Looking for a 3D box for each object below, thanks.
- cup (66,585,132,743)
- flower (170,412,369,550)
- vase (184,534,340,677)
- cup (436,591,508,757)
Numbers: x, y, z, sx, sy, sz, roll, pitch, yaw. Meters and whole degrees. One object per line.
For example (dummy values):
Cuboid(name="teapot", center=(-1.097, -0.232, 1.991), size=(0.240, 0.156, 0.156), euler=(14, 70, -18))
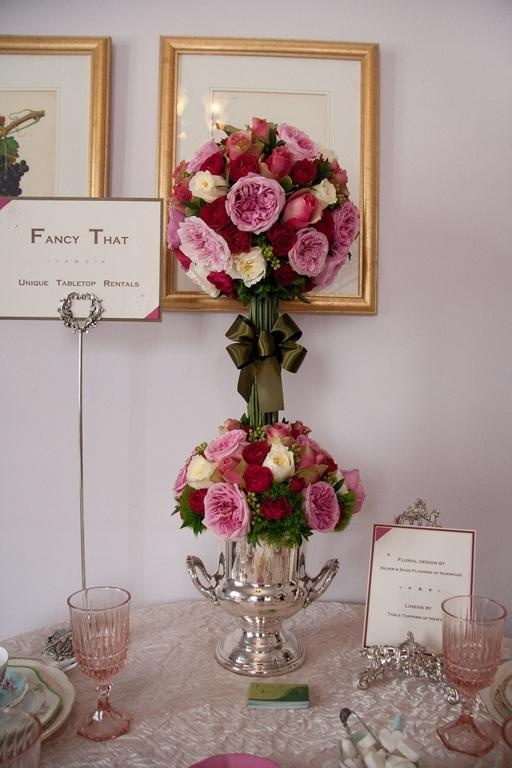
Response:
Cuboid(name="cup", center=(-0.236, 0.401, 1.042), size=(0.087, 0.189, 0.189), euler=(-1, 6, -13))
Cuboid(name="flower", center=(0.033, 0.165, 1.112), size=(0.248, 0.136, 0.237), euler=(4, 14, -5))
Cuboid(name="vase", center=(0.014, 0.386, 1.231), size=(0.277, 0.213, 0.176), euler=(3, -8, -1))
Cuboid(name="cup", center=(0.315, 0.410, 0.999), size=(0.087, 0.182, 0.173), euler=(2, 6, 16))
